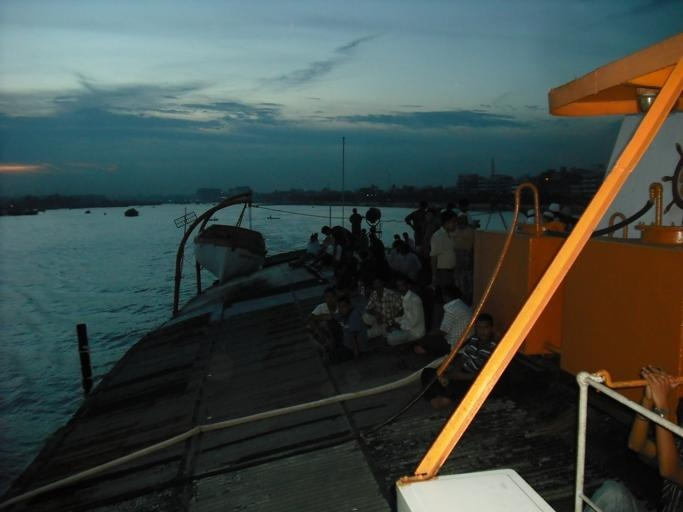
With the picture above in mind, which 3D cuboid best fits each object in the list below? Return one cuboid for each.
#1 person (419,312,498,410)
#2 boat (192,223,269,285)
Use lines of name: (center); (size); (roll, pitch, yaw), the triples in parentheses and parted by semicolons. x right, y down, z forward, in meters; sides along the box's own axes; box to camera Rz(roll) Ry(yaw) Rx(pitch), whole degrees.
person: (1.731, 1.513, 8.082); (1.146, 1.300, 0.915); (-3, 14, -23)
boat: (-5.600, -0.506, 27.975); (2.856, 1.661, 4.808); (9, 12, -8)
